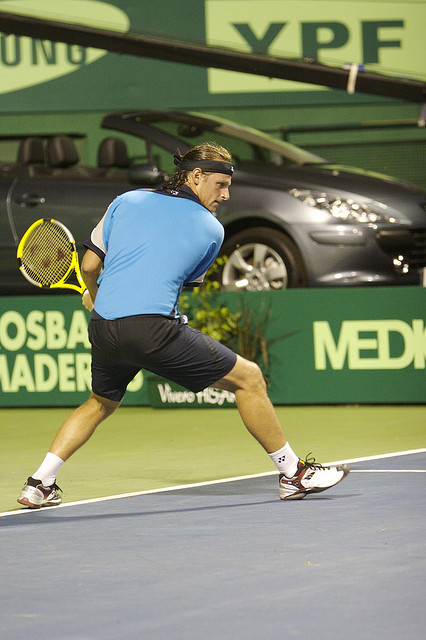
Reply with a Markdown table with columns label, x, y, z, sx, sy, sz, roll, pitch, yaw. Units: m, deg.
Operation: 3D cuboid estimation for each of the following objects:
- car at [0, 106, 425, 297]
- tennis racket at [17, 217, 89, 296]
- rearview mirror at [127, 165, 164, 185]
| label | x | y | z | sx | sy | sz | roll | pitch | yaw |
| --- | --- | --- | --- | --- | --- | --- | --- | --- | --- |
| car | -0.139 | -1.665 | 9.555 | 6.030 | 2.103 | 2.683 | 0 | 0 | 12 |
| tennis racket | -1.126 | -0.469 | 4.655 | 0.579 | 0.549 | 0.328 | -5 | -8 | 39 |
| rearview mirror | -0.918 | -1.957 | 8.782 | 0.533 | 0.299 | 0.234 | -1 | -6 | 5 |
